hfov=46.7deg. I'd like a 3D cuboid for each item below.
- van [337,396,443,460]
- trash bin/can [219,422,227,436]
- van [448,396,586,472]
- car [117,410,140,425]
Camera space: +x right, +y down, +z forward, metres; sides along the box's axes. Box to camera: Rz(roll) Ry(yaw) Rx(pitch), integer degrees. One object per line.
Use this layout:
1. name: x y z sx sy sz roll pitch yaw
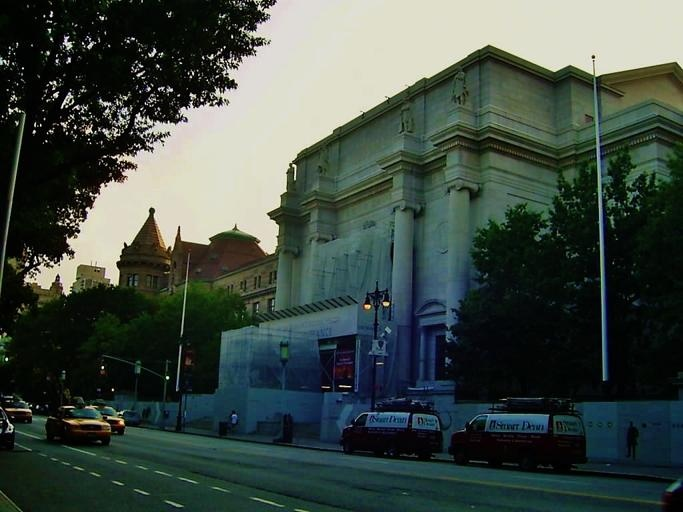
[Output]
1. van: 2.776 9.015 40.661 2.496 2.718 5.182 20 -24 -39
2. trash bin/can: -8.610 12.724 57.666 0.468 0.954 1.044 8 -20 -15
3. van: 8.037 8.011 34.822 2.627 3.273 6.581 5 -8 -31
4. car: -20.224 15.460 75.391 1.297 1.048 2.665 6 -6 -29
